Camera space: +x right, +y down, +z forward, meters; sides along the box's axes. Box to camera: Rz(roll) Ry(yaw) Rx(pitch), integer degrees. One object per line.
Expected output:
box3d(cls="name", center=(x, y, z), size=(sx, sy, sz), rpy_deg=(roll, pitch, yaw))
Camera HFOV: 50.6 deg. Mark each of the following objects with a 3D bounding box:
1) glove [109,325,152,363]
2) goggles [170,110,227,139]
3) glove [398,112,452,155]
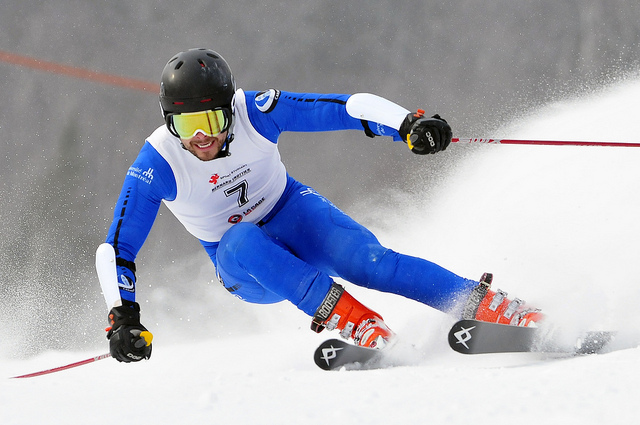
box3d(cls="glove", center=(-1.254, 0.846, 4.515), size=(0.257, 0.240, 0.224), rpy_deg=(-8, -1, -14))
box3d(cls="goggles", center=(-0.831, -0.615, 4.659), size=(0.371, 0.182, 0.077), rpy_deg=(-2, 9, -2))
box3d(cls="glove", center=(0.670, -0.512, 4.597), size=(0.428, 0.283, 0.330), rpy_deg=(0, 6, -22))
